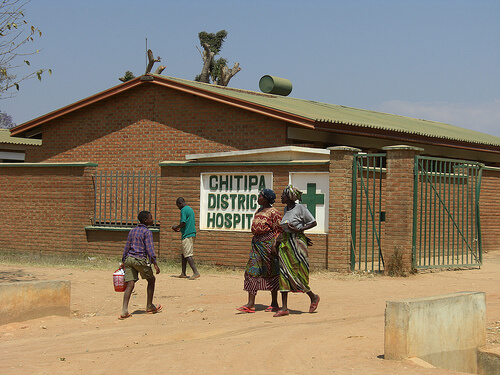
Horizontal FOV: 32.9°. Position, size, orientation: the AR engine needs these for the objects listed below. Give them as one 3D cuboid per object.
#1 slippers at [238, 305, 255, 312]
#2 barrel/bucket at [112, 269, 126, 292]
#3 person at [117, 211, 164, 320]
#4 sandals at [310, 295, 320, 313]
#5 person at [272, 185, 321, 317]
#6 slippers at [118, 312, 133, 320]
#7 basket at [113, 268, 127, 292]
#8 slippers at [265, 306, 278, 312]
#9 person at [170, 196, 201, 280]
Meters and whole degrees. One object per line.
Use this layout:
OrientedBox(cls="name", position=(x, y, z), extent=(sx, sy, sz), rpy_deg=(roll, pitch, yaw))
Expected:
OrientedBox(cls="slippers", position=(-0.056, 2.309, 16.098), extent=(0.274, 0.088, 0.144), rpy_deg=(9, -12, -38))
OrientedBox(cls="barrel/bucket", position=(-2.454, 1.764, 16.034), extent=(0.352, 0.511, 0.380), rpy_deg=(2, -4, 0))
OrientedBox(cls="person", position=(-2.101, 1.471, 16.231), extent=(0.751, 2.088, 0.710), rpy_deg=(1, -6, -3))
OrientedBox(cls="sandals", position=(1.232, 2.203, 16.024), extent=(0.148, 0.390, 0.144), rpy_deg=(13, 0, -23))
OrientedBox(cls="person", position=(0.847, 1.179, 15.821), extent=(0.745, 2.466, 0.557), rpy_deg=(0, -6, 0))
OrientedBox(cls="slippers", position=(-2.340, 2.446, 16.104), extent=(0.139, 0.138, 0.317), rpy_deg=(-4, -7, 35))
OrientedBox(cls="basket", position=(-2.433, 1.779, 16.210), extent=(0.369, 0.537, 0.400), rpy_deg=(2, -3, -6))
OrientedBox(cls="slippers", position=(0.444, 2.335, 16.268), extent=(0.293, 0.106, 0.098), rpy_deg=(8, -12, -32))
OrientedBox(cls="person", position=(-1.449, 1.129, 19.628), extent=(0.613, 1.940, 0.723), rpy_deg=(1, -6, -4))
